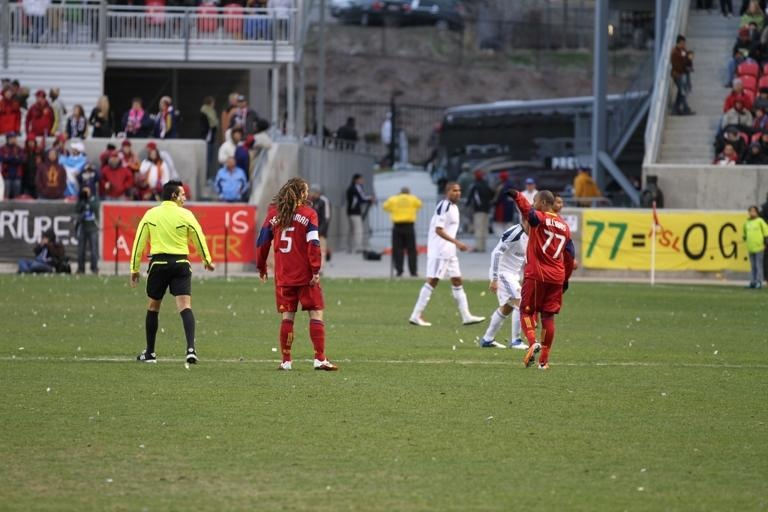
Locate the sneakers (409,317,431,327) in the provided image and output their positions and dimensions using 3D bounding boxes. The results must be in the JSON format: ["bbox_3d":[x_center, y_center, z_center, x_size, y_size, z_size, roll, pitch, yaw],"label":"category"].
[{"bbox_3d":[0.952,1.441,44.602,0.576,0.249,0.210,7,6,-15],"label":"sneakers"}]

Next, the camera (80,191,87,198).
[{"bbox_3d":[-8.283,-1.870,51.764,0.175,0.225,0.118,9,2,-5],"label":"camera"}]

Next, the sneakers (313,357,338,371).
[{"bbox_3d":[-1.216,2.218,40.379,0.462,0.195,0.233,0,7,-6],"label":"sneakers"}]

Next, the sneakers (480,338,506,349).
[{"bbox_3d":[2.501,1.859,42.517,0.631,0.238,0.226,1,4,-10],"label":"sneakers"}]

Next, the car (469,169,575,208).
[{"bbox_3d":[4.943,-2.756,63.891,2.938,0.854,1.717,-1,11,-3],"label":"car"}]

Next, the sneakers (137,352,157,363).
[{"bbox_3d":[-5.111,2.093,40.721,0.464,0.196,0.184,5,8,16],"label":"sneakers"}]
